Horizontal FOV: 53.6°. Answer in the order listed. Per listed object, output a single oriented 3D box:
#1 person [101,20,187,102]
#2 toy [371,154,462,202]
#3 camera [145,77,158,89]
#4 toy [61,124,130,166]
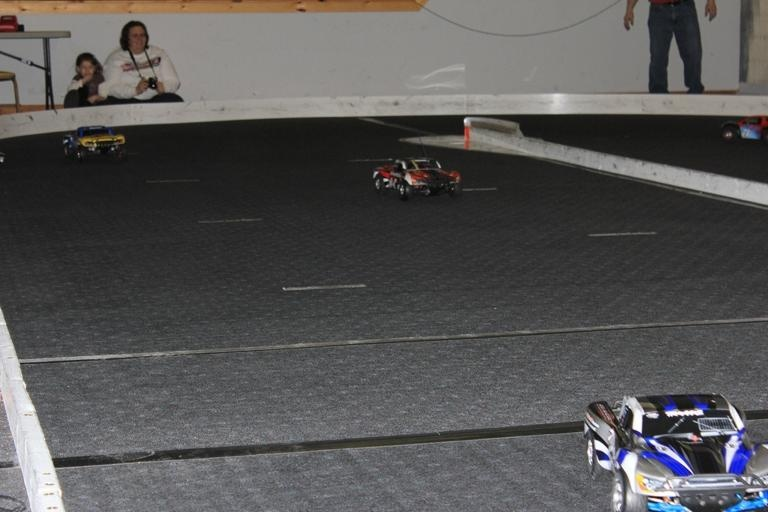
[{"bbox_3d":[-4.613,-3.583,14.138,1.398,1.493,0.689,-13,16,-41],"label":"person"},{"bbox_3d":[0.349,-0.827,8.075,0.711,0.403,0.652,-5,11,-15],"label":"toy"},{"bbox_3d":[-4.226,-3.157,13.859,0.239,0.221,0.072,-4,11,-13],"label":"camera"},{"bbox_3d":[-3.923,-1.531,10.324,0.618,0.443,0.756,-10,14,-36],"label":"toy"}]
